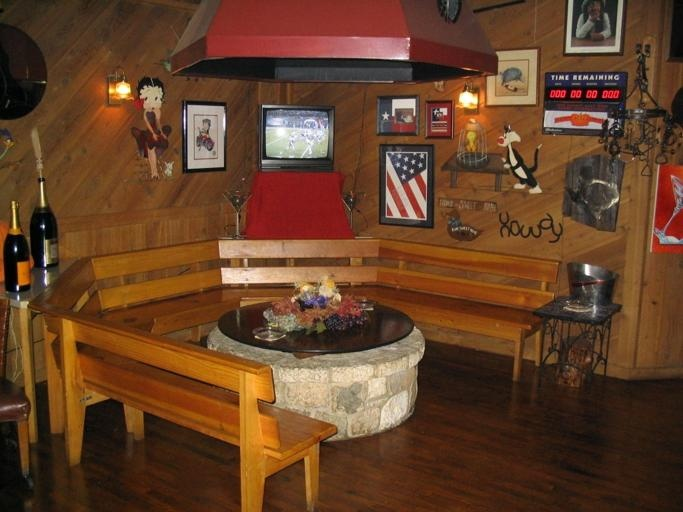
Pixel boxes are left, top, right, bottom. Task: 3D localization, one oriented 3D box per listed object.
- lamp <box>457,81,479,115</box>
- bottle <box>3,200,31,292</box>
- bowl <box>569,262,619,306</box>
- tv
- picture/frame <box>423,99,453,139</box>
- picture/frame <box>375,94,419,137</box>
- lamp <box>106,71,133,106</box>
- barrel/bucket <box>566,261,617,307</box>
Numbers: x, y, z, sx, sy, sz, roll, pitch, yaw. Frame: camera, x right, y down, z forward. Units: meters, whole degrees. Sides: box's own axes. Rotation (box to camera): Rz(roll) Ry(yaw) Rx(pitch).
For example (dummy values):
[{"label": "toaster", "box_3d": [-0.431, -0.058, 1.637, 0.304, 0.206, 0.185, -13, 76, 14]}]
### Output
[{"label": "lamp", "box_3d": [1.245, -1.535, 5.761, 0.198, 0.295, 0.162, 7, 15, 22]}, {"label": "bottle", "box_3d": [-2.254, -0.064, 4.060, 0.173, 0.561, 0.377, -7, 16, -28]}, {"label": "bowl", "box_3d": [2.179, 0.248, 5.150, 0.399, 0.270, 0.335, 1, 2, 17]}, {"label": "tv", "box_3d": [-0.451, -1.037, 6.247, 0.993, 0.820, 0.569, 0, 3, -5]}, {"label": "picture/frame", "box_3d": [0.990, -1.386, 5.981, 0.379, 0.499, 0.056, 6, 10, 31]}, {"label": "picture/frame", "box_3d": [0.594, -1.469, 6.160, 0.468, 0.414, 0.037, 0, 2, 26]}, {"label": "lamp", "box_3d": [-1.949, -1.468, 5.191, 0.179, 0.287, 0.131, 3, 14, 6]}, {"label": "barrel/bucket", "box_3d": [2.172, 0.257, 5.154, 0.408, 0.286, 0.338, 2, 4, 21]}]
